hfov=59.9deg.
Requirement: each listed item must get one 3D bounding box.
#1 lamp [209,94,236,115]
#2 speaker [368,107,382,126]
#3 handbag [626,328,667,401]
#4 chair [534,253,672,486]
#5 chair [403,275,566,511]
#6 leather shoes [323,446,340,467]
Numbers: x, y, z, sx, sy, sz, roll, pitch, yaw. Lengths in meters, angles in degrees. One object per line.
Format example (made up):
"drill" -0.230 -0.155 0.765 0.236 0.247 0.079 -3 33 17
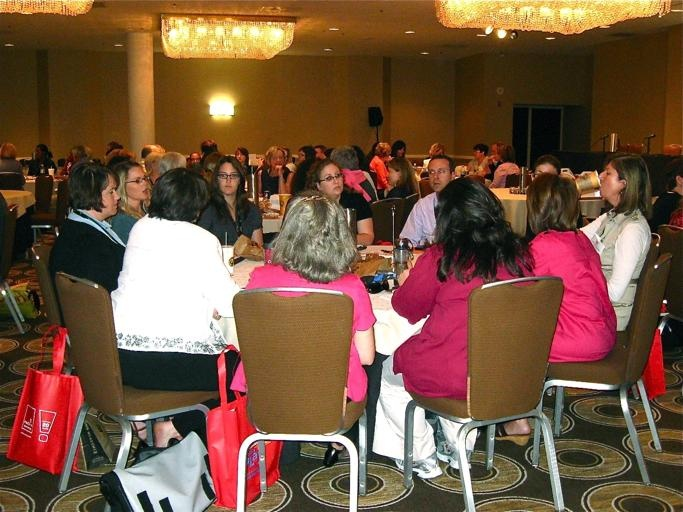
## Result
"lamp" -2.879 -3.631 14.271 0.488 0.355 0.488 -1 9 -4
"speaker" 0.910 -3.414 14.508 0.434 0.533 0.397 2 14 8
"handbag" 1.788 0.552 3.360 0.185 0.134 0.436 7 50 27
"chair" 1.302 0.523 2.978 0.608 1.006 0.593 0 2 26
"chair" 0.607 0.601 2.507 0.717 1.087 0.426 4 11 20
"leather shoes" -0.052 1.005 2.963 0.066 0.113 0.109 5 5 8
